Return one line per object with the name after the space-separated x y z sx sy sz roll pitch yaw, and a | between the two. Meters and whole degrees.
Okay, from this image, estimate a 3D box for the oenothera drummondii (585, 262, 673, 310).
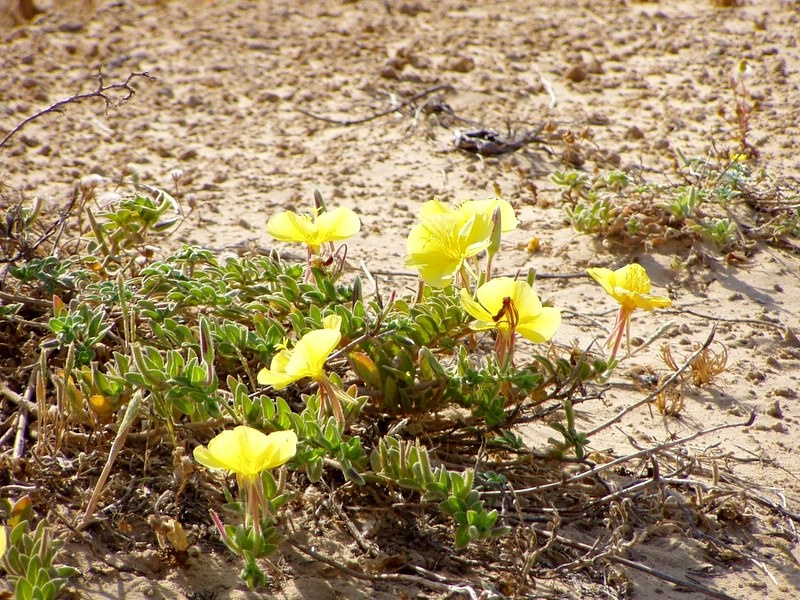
0.866 -0.031 3.930 0.215 0.189 0.090 -19 91 -28 | oenothera drummondii

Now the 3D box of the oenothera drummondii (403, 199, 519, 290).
0.238 -0.260 3.921 0.371 0.160 0.371 -1 33 37 | oenothera drummondii

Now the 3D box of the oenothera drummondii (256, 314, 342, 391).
-0.293 0.223 3.595 0.256 0.228 0.110 -27 84 22 | oenothera drummondii

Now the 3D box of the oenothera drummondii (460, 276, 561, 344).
0.393 0.048 3.691 0.294 0.160 0.326 -25 37 -25 | oenothera drummondii
